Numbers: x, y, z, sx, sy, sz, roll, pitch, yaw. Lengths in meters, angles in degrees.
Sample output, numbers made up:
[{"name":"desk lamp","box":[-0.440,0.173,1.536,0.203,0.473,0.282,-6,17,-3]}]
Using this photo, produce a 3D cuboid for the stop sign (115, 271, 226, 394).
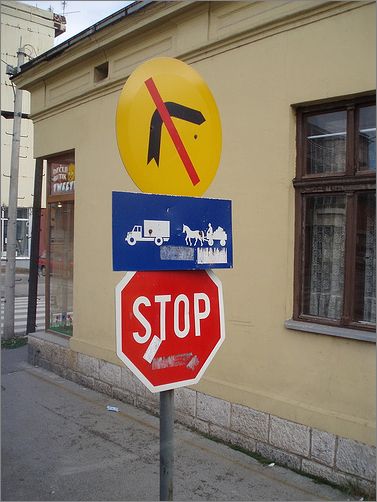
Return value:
[{"name":"stop sign","box":[-0.068,0.362,2.270,0.647,0.495,0.052,-1,0,-44]}]
